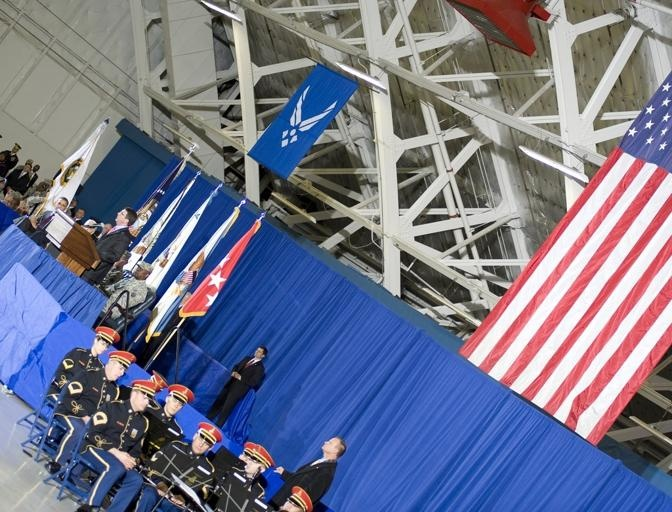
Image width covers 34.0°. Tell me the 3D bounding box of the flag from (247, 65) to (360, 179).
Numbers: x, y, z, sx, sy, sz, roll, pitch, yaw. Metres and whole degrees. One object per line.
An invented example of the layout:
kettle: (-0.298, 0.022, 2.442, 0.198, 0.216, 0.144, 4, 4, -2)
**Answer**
flag: (-0.591, -2.772, 22.910, 0.150, 3.345, 1.817, 24, 16, -48)

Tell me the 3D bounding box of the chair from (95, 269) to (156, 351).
chair: (-3.734, 0.924, 19.288, 0.699, 1.315, 0.768, 43, -4, -39)

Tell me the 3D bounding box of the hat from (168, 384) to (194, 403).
hat: (-2.461, 2.173, 17.288, 0.406, 0.265, 0.528, 29, -11, -6)

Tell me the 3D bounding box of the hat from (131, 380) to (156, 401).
hat: (-2.996, 2.048, 17.124, 0.383, 0.276, 0.743, 29, -11, -7)

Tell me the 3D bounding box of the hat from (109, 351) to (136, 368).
hat: (-3.415, 1.625, 17.394, 0.284, 0.148, 0.275, 2, -13, 14)

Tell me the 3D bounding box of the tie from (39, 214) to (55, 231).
tie: (-5.179, -0.599, 19.609, 0.109, 0.367, 0.109, 24, -12, 49)

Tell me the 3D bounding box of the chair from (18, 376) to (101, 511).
chair: (-4.167, 2.931, 16.653, 0.884, 1.561, 1.202, 41, 4, 19)

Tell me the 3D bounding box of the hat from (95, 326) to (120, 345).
hat: (-3.720, 1.234, 17.696, 0.315, 0.169, 0.309, 23, -19, 41)
